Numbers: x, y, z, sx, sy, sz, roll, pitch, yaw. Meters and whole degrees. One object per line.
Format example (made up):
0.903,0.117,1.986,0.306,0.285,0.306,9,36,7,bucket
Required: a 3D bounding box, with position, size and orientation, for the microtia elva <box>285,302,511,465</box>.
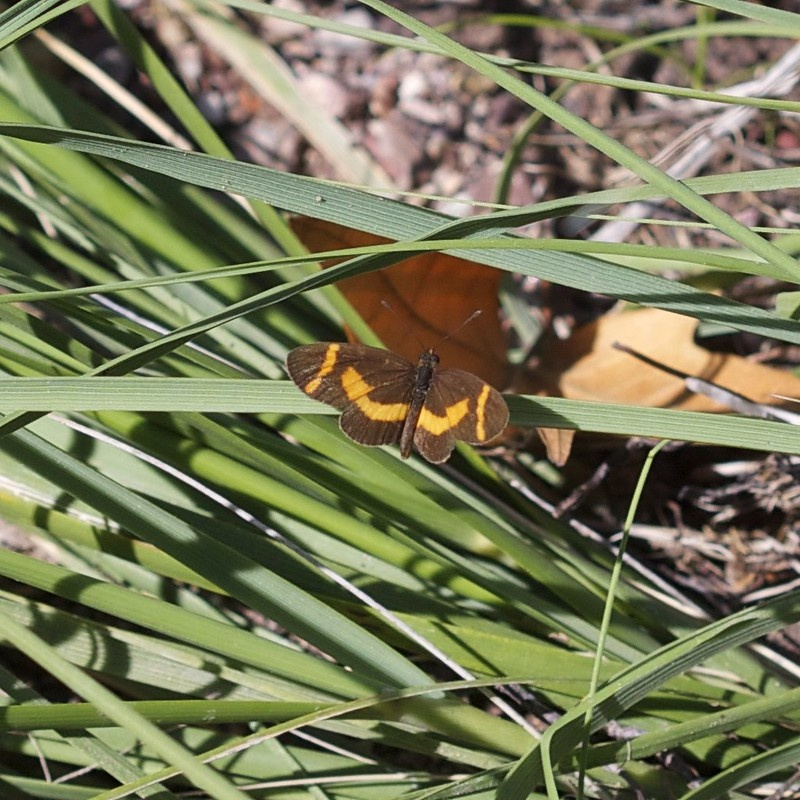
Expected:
-0.029,0.006,1.361,0.314,0.174,0.412,5,5,-7,microtia elva
